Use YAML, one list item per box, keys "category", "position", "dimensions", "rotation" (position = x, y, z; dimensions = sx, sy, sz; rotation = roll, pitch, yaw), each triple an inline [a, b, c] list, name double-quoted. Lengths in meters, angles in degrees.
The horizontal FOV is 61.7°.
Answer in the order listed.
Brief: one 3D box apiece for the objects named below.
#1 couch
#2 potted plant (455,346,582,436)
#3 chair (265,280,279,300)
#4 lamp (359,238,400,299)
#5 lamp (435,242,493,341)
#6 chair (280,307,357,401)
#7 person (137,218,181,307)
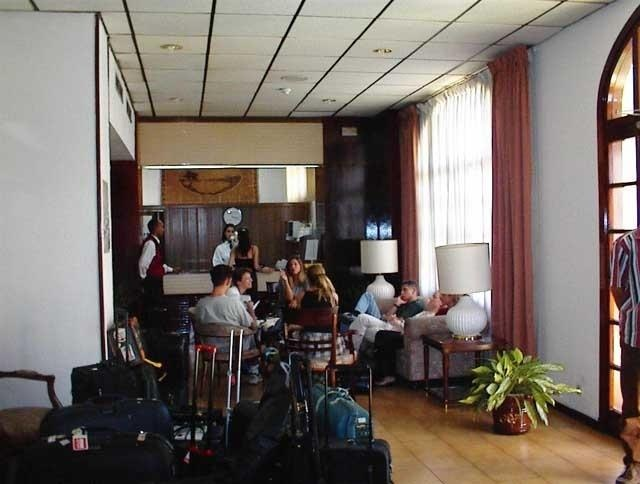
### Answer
- category: "couch"
  position: [1.154, 1.124, 5.822]
  dimensions: [0.844, 1.194, 1.208]
  rotation: [3, -3, -14]
- category: "potted plant"
  position: [1.662, 1.274, 4.561]
  dimensions: [0.803, 0.573, 0.810]
  rotation: [-1, -5, -8]
- category: "chair"
  position: [-0.627, 0.697, 7.740]
  dimensions: [0.195, 0.306, 0.238]
  rotation: [0, 0, 16]
- category: "lamp"
  position: [0.862, 0.411, 8.014]
  dimensions: [0.664, 1.173, 0.676]
  rotation: [1, -2, 4]
- category: "lamp"
  position: [1.446, 0.499, 5.390]
  dimensions: [0.516, 0.975, 0.453]
  rotation: [0, 4, 18]
- category: "chair"
  position: [0.007, 1.044, 5.539]
  dimensions: [0.767, 1.213, 0.841]
  rotation: [0, 4, 11]
- category: "person"
  position: [-2.246, 0.289, 7.221]
  dimensions: [0.345, 1.157, 0.374]
  rotation: [-3, 4, -28]
